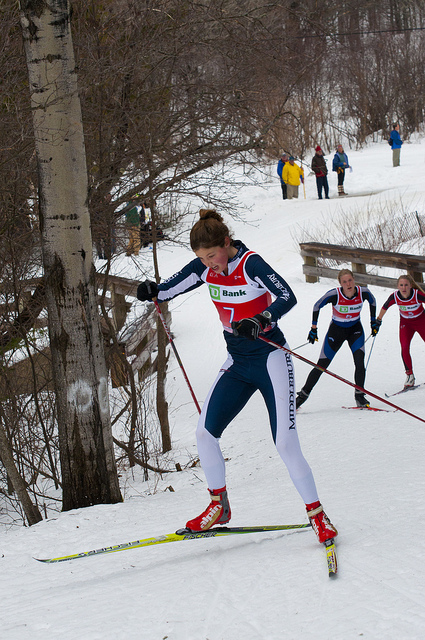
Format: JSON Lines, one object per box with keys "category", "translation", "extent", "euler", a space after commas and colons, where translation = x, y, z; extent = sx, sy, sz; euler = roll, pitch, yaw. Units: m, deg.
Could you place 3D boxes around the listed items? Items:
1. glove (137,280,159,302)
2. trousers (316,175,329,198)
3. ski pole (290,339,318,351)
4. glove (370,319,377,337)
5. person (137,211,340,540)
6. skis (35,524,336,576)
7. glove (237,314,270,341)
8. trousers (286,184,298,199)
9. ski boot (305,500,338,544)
{"category": "glove", "translation": [-0.400, -0.184, 4.139], "extent": [0.107, 0.121, 0.028], "euler": [-9, 6, 10]}
{"category": "trousers", "translation": [3.201, -3.912, 19.291], "extent": [0.300, 0.500, 0.486], "euler": [-8, 3, 8]}
{"category": "ski pole", "translation": [1.132, 0.275, 7.901], "extent": [0.484, 0.056, 0.056], "euler": [-22, 17, 38]}
{"category": "glove", "translation": [1.774, 0.083, 7.323], "extent": [0.052, 0.179, 0.047], "euler": [-2, 26, -2]}
{"category": "person", "translation": [0.109, 0.307, 3.648], "extent": [0.771, 1.447, 0.942], "euler": [-9, 3, -6]}
{"category": "skis", "translation": [-0.109, 1.229, 3.510], "extent": [1.730, 0.191, 0.183], "euler": [-3, -15, -3]}
{"category": "glove", "translation": [0.203, 0.033, 3.233], "extent": [0.124, 0.049, 0.123], "euler": [-42, 45, -2]}
{"category": "trousers", "translation": [2.404, -3.919, 20.053], "extent": [0.330, 0.487, 0.191], "euler": [-1, 38, 13]}
{"category": "ski boot", "translation": [0.519, 1.000, 3.365], "extent": [0.088, 0.117, 0.259], "euler": [-44, 30, 9]}
